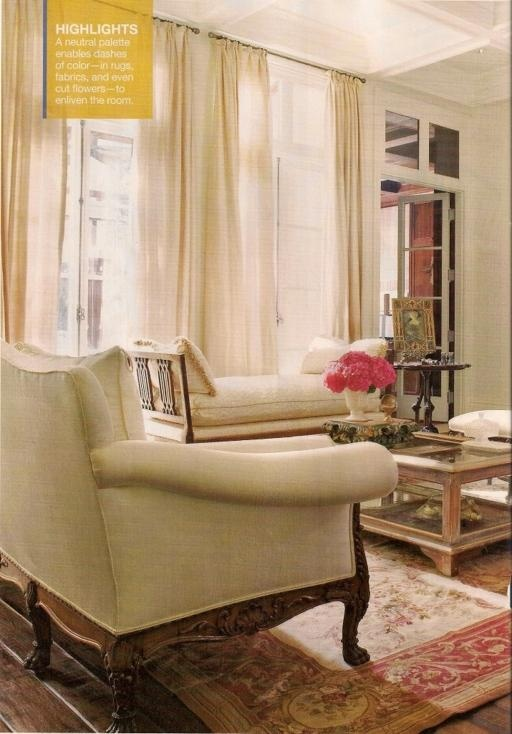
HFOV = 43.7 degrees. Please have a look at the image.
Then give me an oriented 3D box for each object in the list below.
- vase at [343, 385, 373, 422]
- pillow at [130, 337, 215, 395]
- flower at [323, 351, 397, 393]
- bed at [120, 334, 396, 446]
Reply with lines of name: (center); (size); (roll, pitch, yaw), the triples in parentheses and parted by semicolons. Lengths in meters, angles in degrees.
vase: (0.228, 0.075, 1.482); (0.071, 0.071, 0.067); (1, -5, -12)
pillow: (-0.306, -0.005, 2.236); (0.078, 0.197, 0.240); (-34, 30, -34)
flower: (0.227, 0.009, 1.390); (0.087, 0.067, 0.104); (2, 2, 42)
bed: (-0.077, 0.055, 2.163); (0.574, 0.258, 0.421); (-4, 4, -28)
